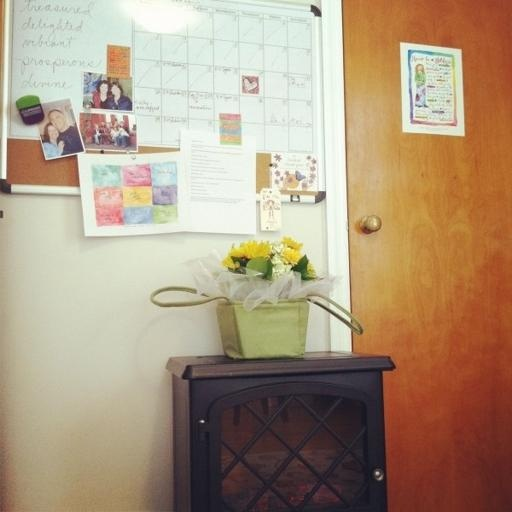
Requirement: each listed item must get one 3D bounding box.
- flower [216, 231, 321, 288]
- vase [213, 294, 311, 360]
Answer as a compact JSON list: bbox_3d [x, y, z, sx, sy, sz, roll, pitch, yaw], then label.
[{"bbox_3d":[0.008,-0.002,1.312,0.181,0.086,0.188,-3,8,36],"label":"flower"},{"bbox_3d":[0.025,0.167,1.256,0.169,0.123,0.127,0,-5,-5],"label":"vase"}]
